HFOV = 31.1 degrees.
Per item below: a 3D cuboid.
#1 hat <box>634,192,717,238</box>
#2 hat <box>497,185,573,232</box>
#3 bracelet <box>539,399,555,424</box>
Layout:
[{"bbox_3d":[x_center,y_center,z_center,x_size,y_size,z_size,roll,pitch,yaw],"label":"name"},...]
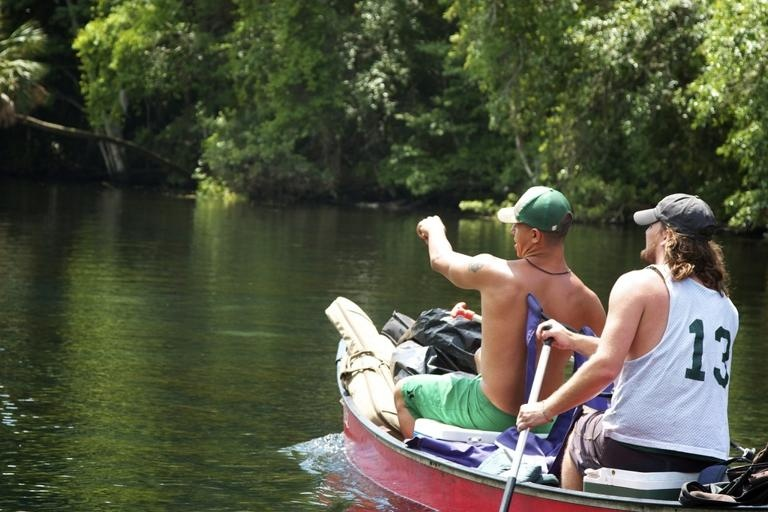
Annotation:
[{"bbox_3d":[4.437,-0.631,20.773,0.994,0.507,0.650,10,5,17],"label":"hat"},{"bbox_3d":[2.326,-0.768,21.247,0.981,0.559,0.663,17,20,10],"label":"hat"},{"bbox_3d":[2.458,2.341,20.728,0.116,0.295,0.253,-35,-20,-1],"label":"bracelet"}]
